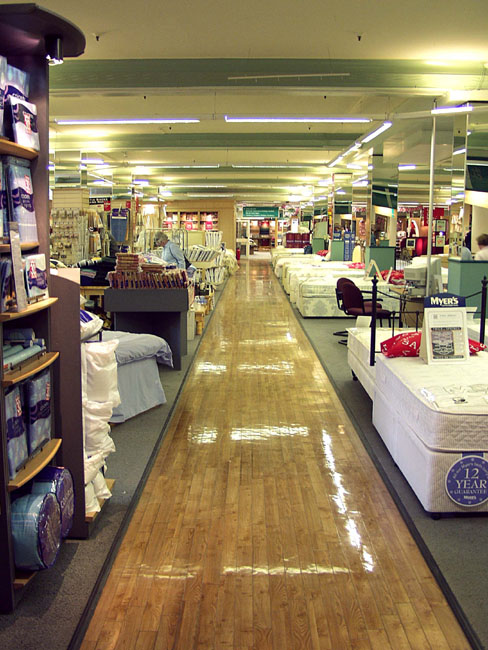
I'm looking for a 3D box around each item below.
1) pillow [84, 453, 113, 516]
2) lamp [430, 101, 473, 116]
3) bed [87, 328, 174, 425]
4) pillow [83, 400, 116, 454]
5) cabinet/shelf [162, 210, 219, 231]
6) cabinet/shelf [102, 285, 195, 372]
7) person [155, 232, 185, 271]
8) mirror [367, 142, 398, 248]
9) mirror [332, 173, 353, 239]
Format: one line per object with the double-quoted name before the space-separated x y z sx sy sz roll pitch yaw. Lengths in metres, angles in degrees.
"pillow" -0.736 0.803 2.325 0.112 0.124 0.361 -1 -1 -4
"lamp" 3.233 -3.396 7.288 0.579 0.216 0.343 2 4 18
"bed" -1.075 0.441 4.228 0.687 0.554 0.705 -6 3 37
"pillow" -0.724 0.451 2.290 0.155 0.194 0.099 6 8 -10
"cabinet/shelf" -3.185 -6.595 28.838 3.186 1.453 3.175 0 4 -6
"cabinet/shelf" -1.299 -0.401 6.343 0.919 1.288 1.841 -1 31 -11
"person" -1.093 -1.151 6.935 0.430 0.615 1.721 0 4 -8
"mirror" 3.787 -3.365 12.898 0.705 2.614 0.517 -1 3 9
"mirror" 3.765 -4.717 17.881 0.691 2.100 0.838 1 4 11
